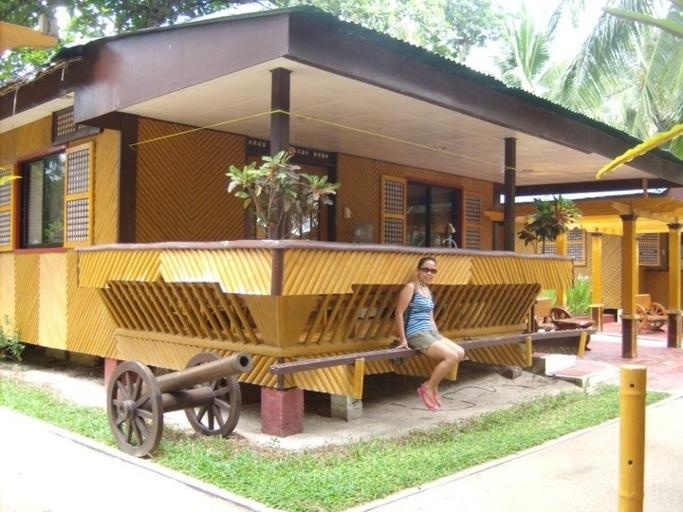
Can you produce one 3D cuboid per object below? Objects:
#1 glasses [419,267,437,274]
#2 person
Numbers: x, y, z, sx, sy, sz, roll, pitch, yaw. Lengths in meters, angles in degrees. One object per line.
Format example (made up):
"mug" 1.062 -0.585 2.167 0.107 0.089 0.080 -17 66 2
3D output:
"glasses" 1.111 0.110 7.877 0.197 0.091 0.093 1 1 5
"person" 1.120 0.953 7.908 0.829 2.064 0.457 1 0 4
